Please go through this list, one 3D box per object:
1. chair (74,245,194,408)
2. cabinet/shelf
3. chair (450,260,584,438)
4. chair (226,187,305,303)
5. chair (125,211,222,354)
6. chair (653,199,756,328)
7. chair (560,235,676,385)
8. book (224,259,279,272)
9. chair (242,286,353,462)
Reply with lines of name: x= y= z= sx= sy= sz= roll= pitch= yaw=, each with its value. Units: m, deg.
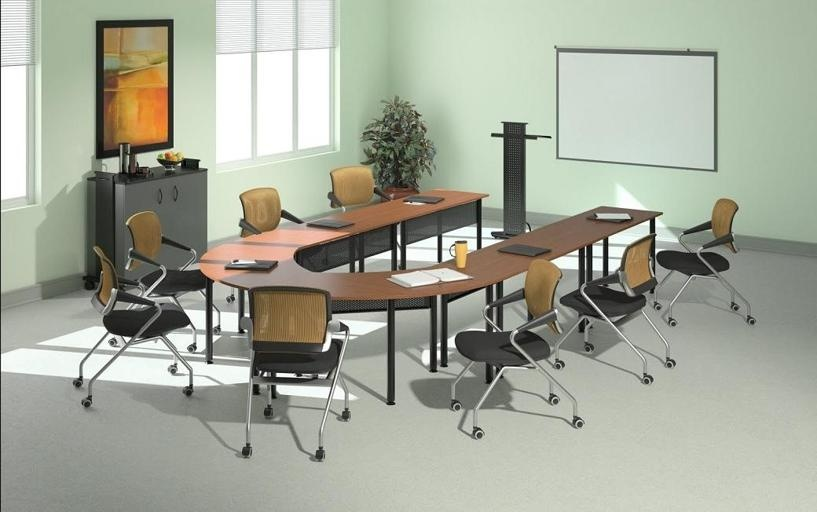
chair: x=-2.335 y=0.592 z=5.398 sx=0.804 sy=1.054 sz=1.021 roll=8 pitch=5 yaw=44
cabinet/shelf: x=-3.177 y=-0.455 z=7.816 sx=0.554 sy=1.227 sz=1.427 roll=11 pitch=17 yaw=15
chair: x=0.864 y=0.709 z=5.095 sx=1.102 sy=1.185 sz=0.972 roll=-3 pitch=8 yaw=7
chair: x=-1.533 y=-0.405 z=6.921 sx=0.640 sy=0.781 sz=0.656 roll=-12 pitch=19 yaw=-41
chair: x=-2.302 y=0.236 z=6.183 sx=0.988 sy=1.125 sz=0.857 roll=10 pitch=13 yaw=-13
chair: x=3.280 y=0.046 z=6.973 sx=1.176 sy=1.213 sz=1.127 roll=5 pitch=15 yaw=42
chair: x=1.923 y=0.443 z=5.883 sx=1.128 sy=1.141 sz=1.103 roll=-4 pitch=8 yaw=-9
book: x=-1.366 y=0.086 z=5.473 sx=0.420 sy=0.054 sz=0.215 roll=1 pitch=14 yaw=5
chair: x=-0.856 y=0.802 z=4.696 sx=0.920 sy=1.102 sz=0.999 roll=3 pitch=2 yaw=25
